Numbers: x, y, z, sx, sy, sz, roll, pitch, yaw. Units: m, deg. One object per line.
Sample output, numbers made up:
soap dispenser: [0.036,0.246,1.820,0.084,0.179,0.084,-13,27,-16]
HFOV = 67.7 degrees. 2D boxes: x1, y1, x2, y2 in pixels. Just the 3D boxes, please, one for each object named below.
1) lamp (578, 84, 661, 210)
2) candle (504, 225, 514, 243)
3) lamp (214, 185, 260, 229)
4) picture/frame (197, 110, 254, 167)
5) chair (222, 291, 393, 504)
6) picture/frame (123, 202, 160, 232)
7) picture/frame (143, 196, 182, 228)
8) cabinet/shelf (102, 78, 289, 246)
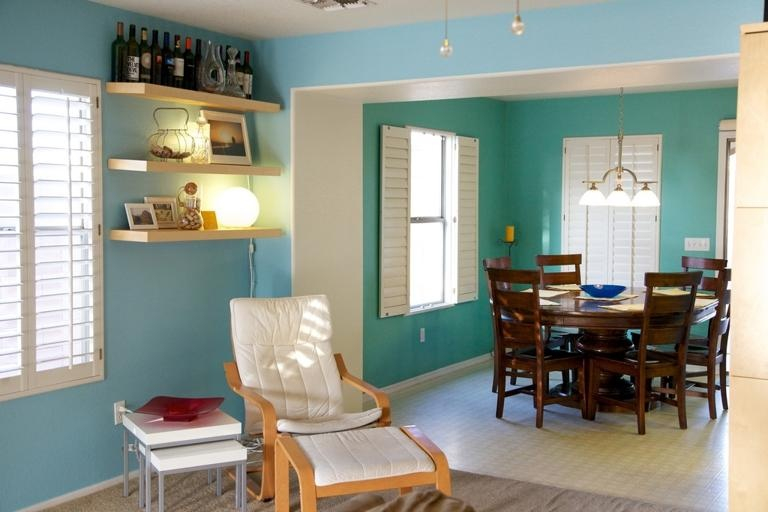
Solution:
lamp: [2.420,-1.189,5.894,0.790,1.378,1.916,4,8,24]
candle: [1.576,-0.291,7.186,0.131,0.238,0.287,2,8,12]
lamp: [-1.099,-0.372,4.259,0.337,0.310,0.314,-1,0,5]
picture/frame: [-1.202,-0.901,4.269,0.055,0.521,0.558,-15,-13,41]
chair: [-0.515,0.910,3.854,0.916,1.145,1.050,-1,4,-28]
picture/frame: [-1.670,-0.280,3.918,0.017,0.215,0.246,-26,-15,38]
picture/frame: [-1.574,-0.324,4.033,0.025,0.215,0.246,-15,-14,32]
cabinet/shelf: [-1.392,-0.710,4.123,0.466,1.144,1.467,-1,-1,37]
